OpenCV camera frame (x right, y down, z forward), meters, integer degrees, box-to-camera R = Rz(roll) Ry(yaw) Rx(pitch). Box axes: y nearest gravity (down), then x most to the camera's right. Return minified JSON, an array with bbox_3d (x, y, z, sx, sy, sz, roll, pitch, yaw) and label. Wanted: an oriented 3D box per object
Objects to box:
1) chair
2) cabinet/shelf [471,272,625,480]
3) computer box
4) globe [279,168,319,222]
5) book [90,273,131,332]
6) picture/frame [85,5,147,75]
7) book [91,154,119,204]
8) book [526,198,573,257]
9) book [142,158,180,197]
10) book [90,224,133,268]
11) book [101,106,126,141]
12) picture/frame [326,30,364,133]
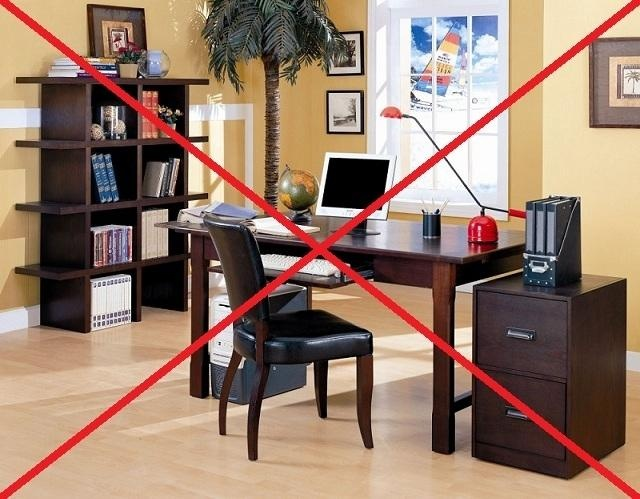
[{"bbox_3d":[-0.154,0.367,2.723,0.663,0.934,0.565,1,1,-22],"label":"chair"},{"bbox_3d":[0.918,0.470,2.729,0.748,0.972,0.619,-4,4,-39],"label":"cabinet/shelf"},{"bbox_3d":[-0.338,0.511,3.249,0.280,0.528,0.481,6,8,44],"label":"computer box"},{"bbox_3d":[-0.128,-0.328,3.452,0.254,0.308,0.246,2,14,4],"label":"globe"},{"bbox_3d":[-1.539,0.382,4.390,0.147,0.370,0.412,1,4,32],"label":"book"},{"bbox_3d":[-1.561,-1.665,4.647,0.459,0.411,0.056,-7,11,-39],"label":"picture/frame"},{"bbox_3d":[-1.549,-0.511,4.326,0.073,0.294,0.292,-6,-2,10],"label":"book"},{"bbox_3d":[0.951,-0.101,2.482,0.157,0.219,0.235,6,10,36],"label":"book"},{"bbox_3d":[-1.246,-0.567,4.729,0.300,0.296,0.079,5,-11,37],"label":"book"},{"bbox_3d":[-1.519,-0.035,4.412,0.256,0.313,0.431,3,7,29],"label":"book"},{"bbox_3d":[-1.498,-0.902,4.365,0.237,0.255,0.233,-2,8,-11],"label":"book"},{"bbox_3d":[0.263,-1.590,5.744,0.330,0.963,0.526,-1,8,-8],"label":"picture/frame"}]
